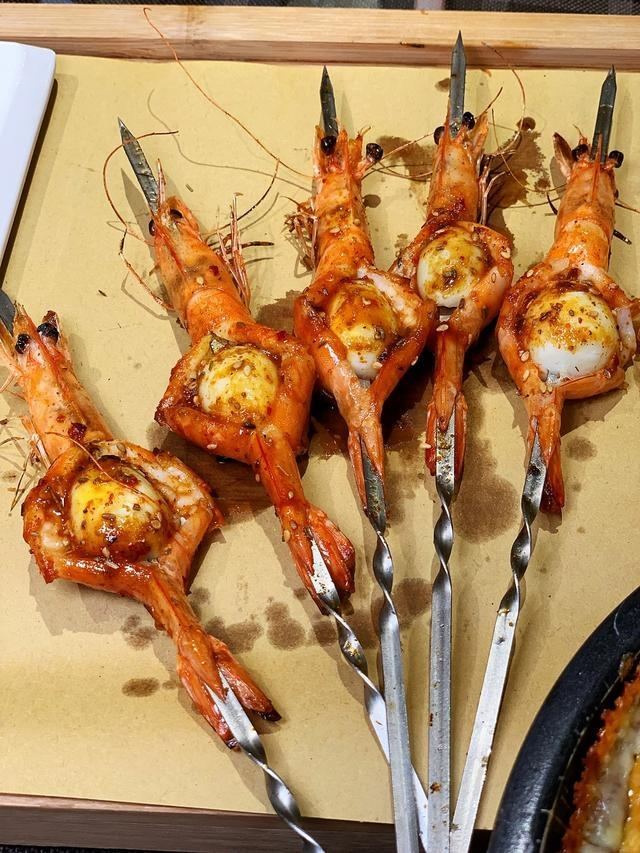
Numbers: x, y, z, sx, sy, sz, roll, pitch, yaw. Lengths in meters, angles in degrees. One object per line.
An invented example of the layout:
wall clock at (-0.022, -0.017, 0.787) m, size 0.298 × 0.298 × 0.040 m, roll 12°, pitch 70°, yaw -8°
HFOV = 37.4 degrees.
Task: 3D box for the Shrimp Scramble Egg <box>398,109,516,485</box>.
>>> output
Shrimp Scramble Egg at (0.319, -0.312, 2.147) m, size 0.282 × 0.810 × 0.184 m, roll 5°, pitch -28°, yaw 8°
